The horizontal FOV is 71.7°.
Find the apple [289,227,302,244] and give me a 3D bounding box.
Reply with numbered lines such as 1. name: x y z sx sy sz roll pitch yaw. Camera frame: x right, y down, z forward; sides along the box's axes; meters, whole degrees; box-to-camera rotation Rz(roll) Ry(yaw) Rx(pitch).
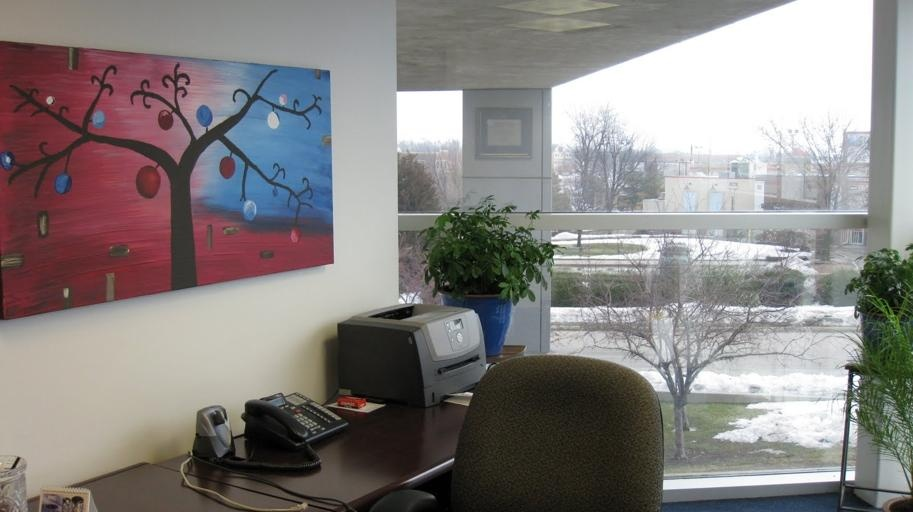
1. apple: -0.922 -0.114 3.591 0.077 0.067 0.073 -11 25 -35

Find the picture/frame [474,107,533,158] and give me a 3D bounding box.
1. picture/frame: 0.419 -1.059 5.347 0.518 0.376 0.052 0 4 8

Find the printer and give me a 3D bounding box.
1. printer: -0.277 0.560 3.768 0.697 0.385 0.673 2 6 28

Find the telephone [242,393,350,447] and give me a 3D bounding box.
1. telephone: -0.859 0.863 3.370 0.442 0.155 0.462 10 8 37
